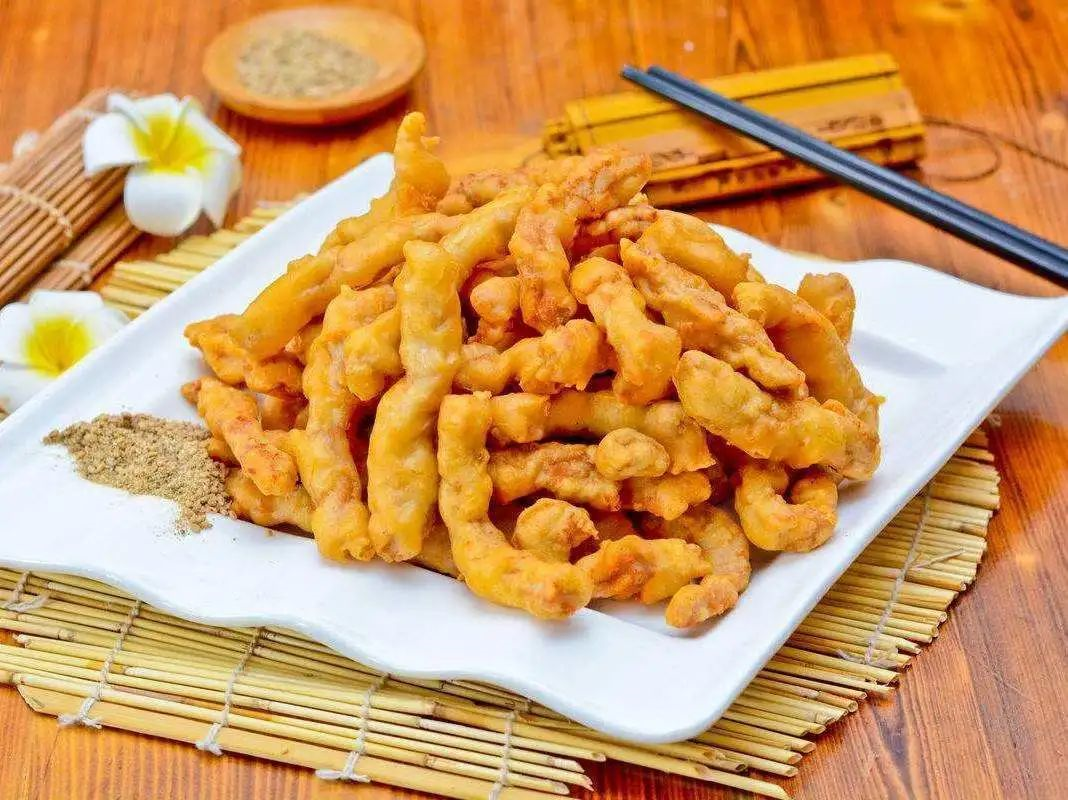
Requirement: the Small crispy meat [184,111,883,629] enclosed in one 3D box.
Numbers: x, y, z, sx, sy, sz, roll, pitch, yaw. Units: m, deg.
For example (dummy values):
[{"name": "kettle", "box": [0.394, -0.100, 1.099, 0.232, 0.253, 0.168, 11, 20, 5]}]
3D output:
[{"name": "Small crispy meat", "box": [0.006, -0.042, 1.926, 1.211, 0.375, 0.832, 16, 64, 10]}]
